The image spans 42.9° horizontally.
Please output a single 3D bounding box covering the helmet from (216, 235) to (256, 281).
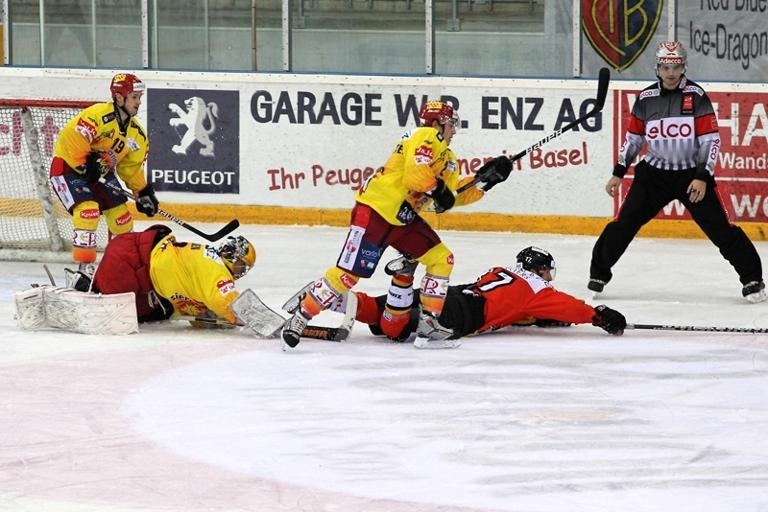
[{"bbox_3d":[-0.940,0.018,6.669,0.306,0.241,0.239,22,8,38],"label":"helmet"}]

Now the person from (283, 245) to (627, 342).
[{"bbox_3d":[0.481,0.281,6.750,2.370,0.518,1.168,-2,6,1],"label":"person"}]

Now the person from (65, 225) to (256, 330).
[{"bbox_3d":[-1.546,0.173,6.691,0.829,0.303,0.747,-2,17,-18],"label":"person"}]

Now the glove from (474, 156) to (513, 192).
[{"bbox_3d":[0.788,-0.559,6.789,0.326,0.117,0.183,-31,44,-3],"label":"glove"}]

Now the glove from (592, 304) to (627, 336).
[{"bbox_3d":[1.504,0.426,6.486,0.166,0.090,0.235,36,16,38],"label":"glove"}]

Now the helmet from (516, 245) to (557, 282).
[{"bbox_3d":[1.056,0.045,6.748,0.281,0.225,0.217,19,-1,-15],"label":"helmet"}]

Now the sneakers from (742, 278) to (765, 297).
[{"bbox_3d":[2.881,0.248,7.617,0.159,0.139,0.120,-18,-9,38],"label":"sneakers"}]

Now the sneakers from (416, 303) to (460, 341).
[{"bbox_3d":[0.340,0.445,6.446,0.382,0.229,0.116,8,-7,-38],"label":"sneakers"}]

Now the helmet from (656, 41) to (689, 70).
[{"bbox_3d":[2.219,-1.534,7.488,0.201,0.201,0.241,3,14,11],"label":"helmet"}]

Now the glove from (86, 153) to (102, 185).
[{"bbox_3d":[-2.279,-0.687,7.576,0.082,0.232,0.154,5,8,27],"label":"glove"}]

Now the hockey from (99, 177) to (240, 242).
[{"bbox_3d":[-1.688,-0.413,7.467,1.488,0.407,0.119,11,15,-45],"label":"hockey"}]

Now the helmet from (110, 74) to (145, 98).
[{"bbox_3d":[-2.024,-1.326,7.624,0.247,0.198,0.186,0,16,-4],"label":"helmet"}]

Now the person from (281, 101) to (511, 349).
[{"bbox_3d":[0.125,-0.225,6.392,1.579,1.576,0.601,-3,9,-37],"label":"person"}]

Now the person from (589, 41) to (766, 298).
[{"bbox_3d":[2.334,-0.660,7.651,1.300,1.961,0.442,3,7,8],"label":"person"}]

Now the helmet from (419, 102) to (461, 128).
[{"bbox_3d":[0.379,-0.959,6.508,0.242,0.190,0.181,-7,17,1],"label":"helmet"}]

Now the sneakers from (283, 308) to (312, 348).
[{"bbox_3d":[-0.571,0.467,6.191,0.142,0.246,0.179,3,7,11],"label":"sneakers"}]
